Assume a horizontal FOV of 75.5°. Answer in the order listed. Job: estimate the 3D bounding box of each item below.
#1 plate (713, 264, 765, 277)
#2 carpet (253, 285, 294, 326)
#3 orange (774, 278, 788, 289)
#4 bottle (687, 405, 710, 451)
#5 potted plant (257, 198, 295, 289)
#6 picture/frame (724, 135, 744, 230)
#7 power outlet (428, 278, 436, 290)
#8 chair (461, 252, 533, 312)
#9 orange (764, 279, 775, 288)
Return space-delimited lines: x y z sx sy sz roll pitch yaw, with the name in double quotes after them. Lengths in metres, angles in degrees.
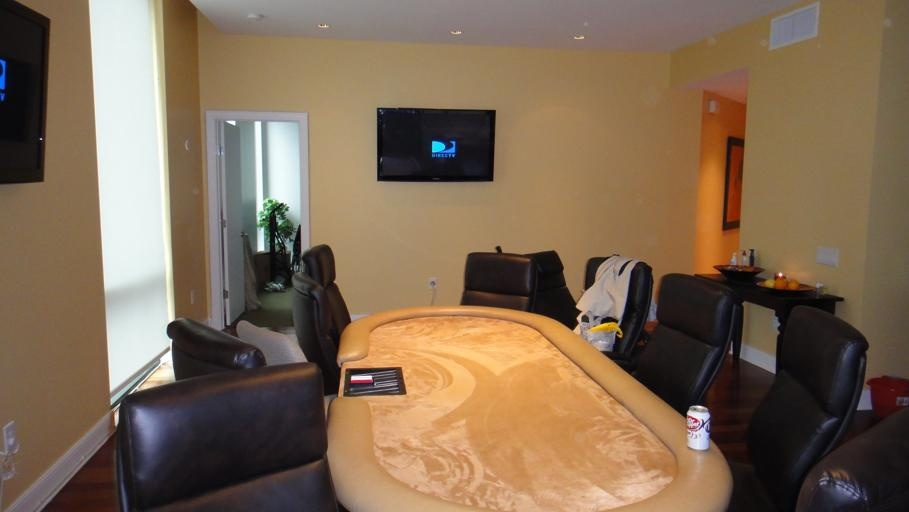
3.047 0.157 6.324 0.435 0.112 0.473 8 9 38 "plate"
-2.568 0.733 8.230 0.530 0.035 0.583 2 50 -14 "carpet"
3.215 0.276 5.801 0.105 0.095 0.102 6 -12 -40 "orange"
1.387 0.977 3.352 0.140 0.238 0.138 2 8 0 "bottle"
-2.855 -0.204 9.470 0.557 1.434 0.738 -1 9 -18 "potted plant"
3.947 -1.065 8.343 0.062 1.304 1.254 2 18 32 "picture/frame"
-0.298 0.354 7.607 0.153 0.202 0.021 1 8 -9 "power outlet"
0.521 0.250 5.681 0.516 0.713 0.606 3 -1 20 "chair"
3.164 0.269 5.902 0.104 0.062 0.103 0 12 12 "orange"
